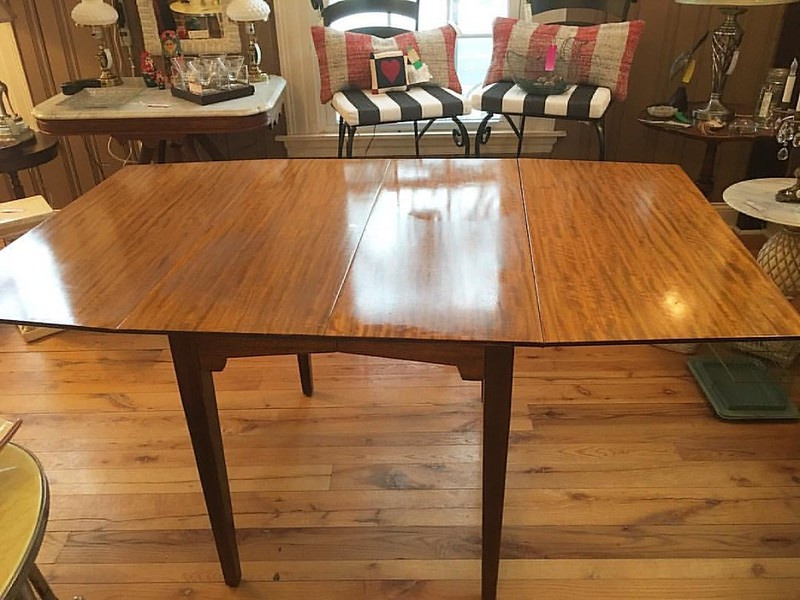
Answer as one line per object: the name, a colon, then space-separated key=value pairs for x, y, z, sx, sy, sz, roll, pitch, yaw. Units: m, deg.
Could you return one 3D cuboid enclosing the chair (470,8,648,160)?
chair: x=0.838 y=-1.214 z=3.655 sx=0.887 sy=0.630 sz=0.423 roll=9 pitch=66 yaw=10
